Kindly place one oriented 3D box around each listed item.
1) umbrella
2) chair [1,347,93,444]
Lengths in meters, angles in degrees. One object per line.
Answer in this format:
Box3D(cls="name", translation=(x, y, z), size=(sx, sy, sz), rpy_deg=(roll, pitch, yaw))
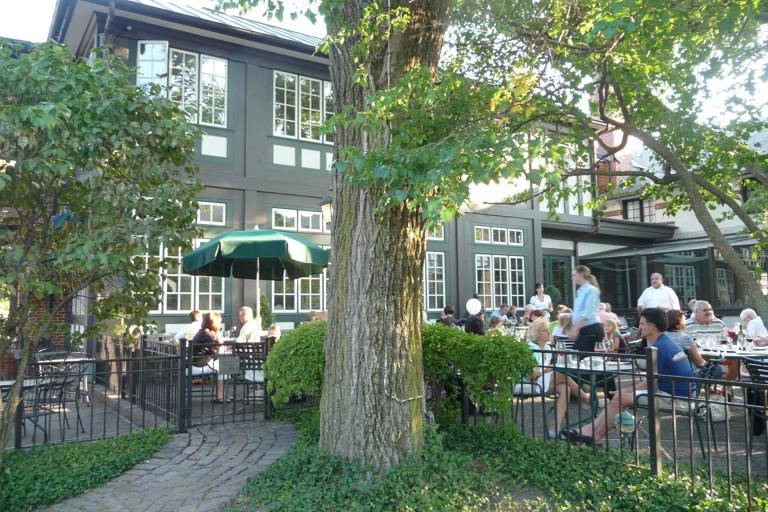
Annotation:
Box3D(cls="umbrella", translation=(-2.514, 0.939, 12.162), size=(2.496, 1.637, 2.348), rpy_deg=(1, -14, -8))
Box3D(cls="chair", translation=(-5.327, 2.255, 9.842), size=(0.821, 1.034, 1.530), rpy_deg=(2, -6, 7))
